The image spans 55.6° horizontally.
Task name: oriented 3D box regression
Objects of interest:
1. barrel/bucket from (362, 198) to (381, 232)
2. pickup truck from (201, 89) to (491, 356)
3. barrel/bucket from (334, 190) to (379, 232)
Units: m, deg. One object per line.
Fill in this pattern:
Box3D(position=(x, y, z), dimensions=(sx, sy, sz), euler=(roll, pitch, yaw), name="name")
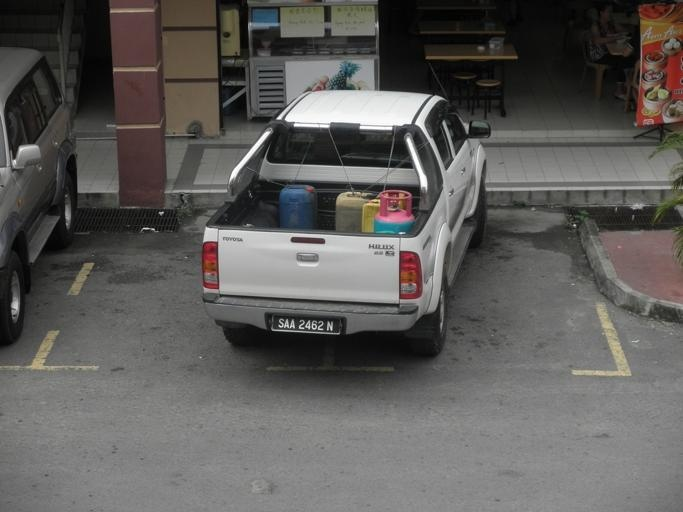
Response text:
Box3D(position=(0.300, -0.397, 6.593), dimensions=(0.166, 0.288, 0.264), euler=(0, 24, 4), name="barrel/bucket")
Box3D(position=(0.327, -0.698, 8.144), dimensions=(2.623, 2.084, 5.231), euler=(2, 22, 14), name="pickup truck")
Box3D(position=(0.158, -0.462, 6.820), dimensions=(0.436, 0.455, 0.794), euler=(0, 0, 8), name="barrel/bucket")
